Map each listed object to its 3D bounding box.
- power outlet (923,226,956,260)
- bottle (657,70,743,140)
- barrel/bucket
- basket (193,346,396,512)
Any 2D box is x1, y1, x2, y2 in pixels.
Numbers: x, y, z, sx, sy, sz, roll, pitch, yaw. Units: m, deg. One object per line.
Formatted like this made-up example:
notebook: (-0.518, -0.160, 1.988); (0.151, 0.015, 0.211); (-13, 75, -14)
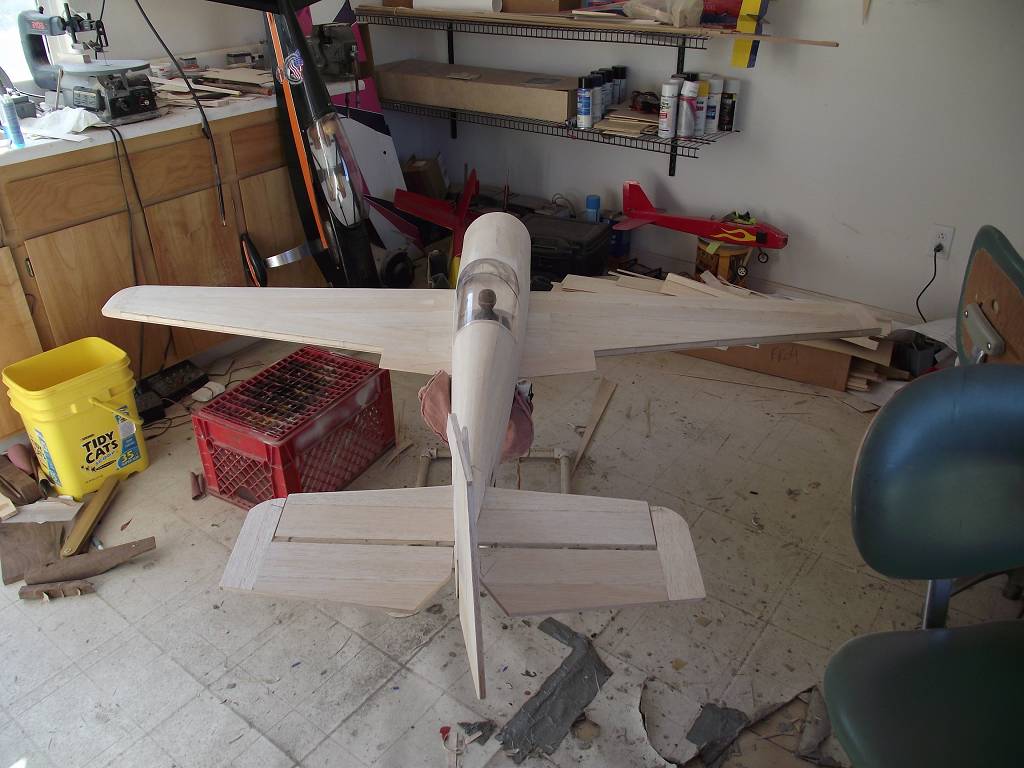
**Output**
power outlet: (2.339, -0.770, 3.782); (0.144, 0.140, 0.038); (21, 25, 26)
bottle: (1.081, -1.604, 3.972); (0.392, 0.257, 0.214); (-14, 35, -18)
barrel/bucket: (-1.939, 0.157, 3.058); (0.401, 0.480, 0.434); (-1, 47, 1)
basket: (-0.953, 0.190, 3.145); (0.547, 0.417, 0.721); (17, 36, 28)
